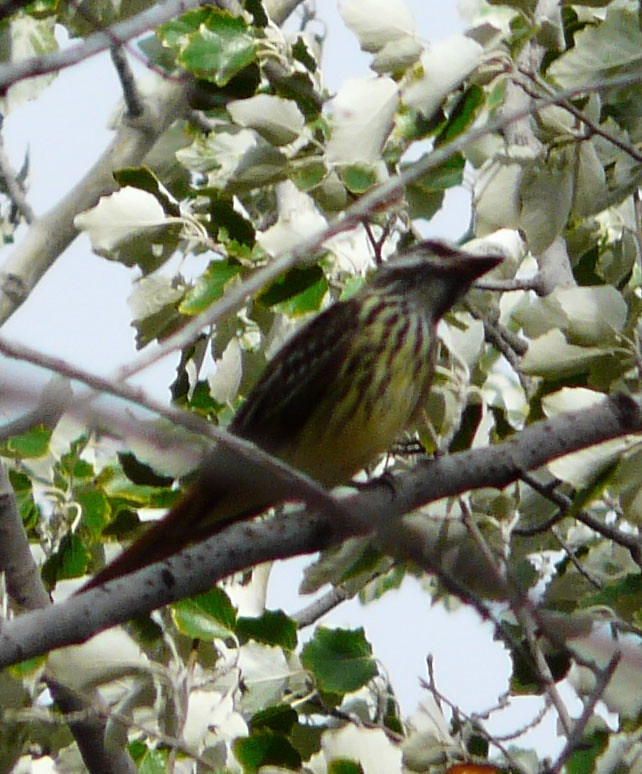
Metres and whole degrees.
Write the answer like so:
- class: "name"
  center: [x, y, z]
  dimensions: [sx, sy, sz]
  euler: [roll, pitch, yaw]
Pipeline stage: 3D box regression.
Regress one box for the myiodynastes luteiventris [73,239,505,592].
- class: "myiodynastes luteiventris"
  center: [-0.037, 0.021, 1.158]
  dimensions: [0.311, 0.157, 0.105]
  euler: [-18, -20, 13]
